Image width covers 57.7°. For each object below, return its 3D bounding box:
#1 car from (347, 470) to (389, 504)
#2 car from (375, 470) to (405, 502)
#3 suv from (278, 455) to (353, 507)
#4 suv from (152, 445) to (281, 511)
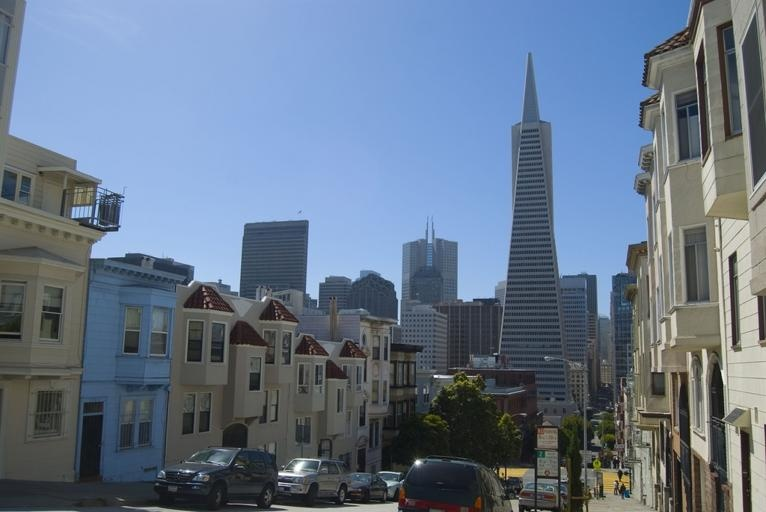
[{"bbox_3d":[-0.992,12.977,38.921,1.496,1.105,3.254,-8,-23,22],"label":"car"},{"bbox_3d":[0.456,13.985,42.412,1.449,1.173,3.504,-4,-20,9],"label":"car"},{"bbox_3d":[-3.344,10.565,32.442,1.338,2.053,3.888,-11,-19,37],"label":"suv"},{"bbox_3d":[-6.396,8.703,27.195,1.887,2.339,4.496,-9,-18,32],"label":"suv"}]
